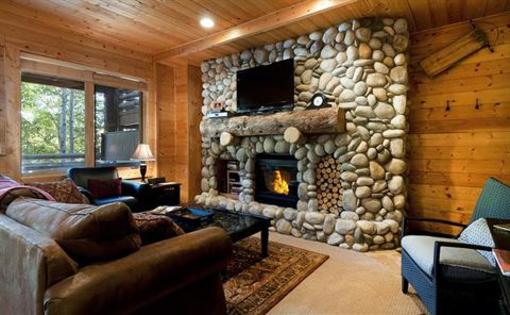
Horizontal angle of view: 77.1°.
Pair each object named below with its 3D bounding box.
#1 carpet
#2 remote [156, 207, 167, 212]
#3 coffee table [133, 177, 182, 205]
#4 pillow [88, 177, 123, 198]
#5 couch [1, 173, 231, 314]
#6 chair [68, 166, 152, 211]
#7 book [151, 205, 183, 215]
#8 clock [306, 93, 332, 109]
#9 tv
[{"bbox_3d":[0.178,1.523,4.170,0.867,0.011,0.932,-12,10,-36],"label":"carpet"},{"bbox_3d":[-1.356,0.749,4.615,0.097,0.021,0.095,1,5,13],"label":"remote"},{"bbox_3d":[-1.833,0.593,5.962,0.614,0.386,0.611,0,1,36],"label":"coffee table"},{"bbox_3d":[-2.490,0.505,5.285,0.379,0.233,0.122,-1,-35,-31],"label":"pillow"},{"bbox_3d":[-1.469,0.882,3.262,1.774,0.601,0.800,0,-1,38],"label":"couch"},{"bbox_3d":[-2.385,0.480,5.359,0.952,0.662,0.986,1,2,37],"label":"chair"},{"bbox_3d":[-1.295,0.748,4.648,0.299,0.060,0.266,1,4,29],"label":"book"},{"bbox_3d":[1.009,-0.908,5.139,0.386,0.246,0.095,-2,2,34],"label":"clock"},{"bbox_3d":[0.212,-1.214,5.582,1.318,0.805,0.135,-3,-5,35],"label":"tv"}]
